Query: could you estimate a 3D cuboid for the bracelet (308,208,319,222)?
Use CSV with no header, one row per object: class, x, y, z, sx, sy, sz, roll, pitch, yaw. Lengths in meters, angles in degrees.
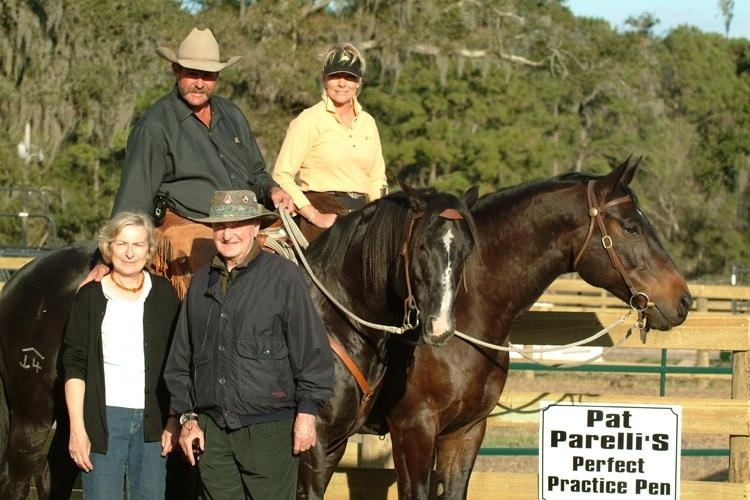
bracelet,-0.860,-0.485,20.514,0.043,0.174,0.169,5,2,20
